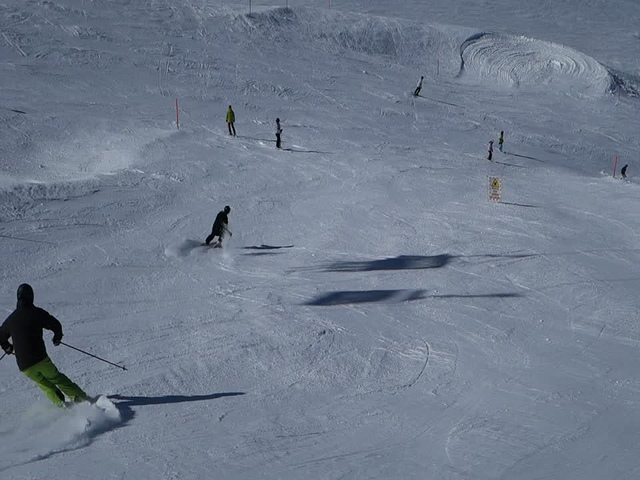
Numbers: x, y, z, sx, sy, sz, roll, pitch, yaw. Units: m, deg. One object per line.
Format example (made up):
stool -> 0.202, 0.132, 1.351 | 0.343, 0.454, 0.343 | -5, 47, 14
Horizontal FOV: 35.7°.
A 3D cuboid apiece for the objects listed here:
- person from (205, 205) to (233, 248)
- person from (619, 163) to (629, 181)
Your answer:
person -> -3.732, -0.566, 36.903 | 0.875, 1.596, 1.223 | 7, 31, 4
person -> 14.836, -3.287, 48.452 | 0.205, 0.343, 1.201 | 18, 57, 19
